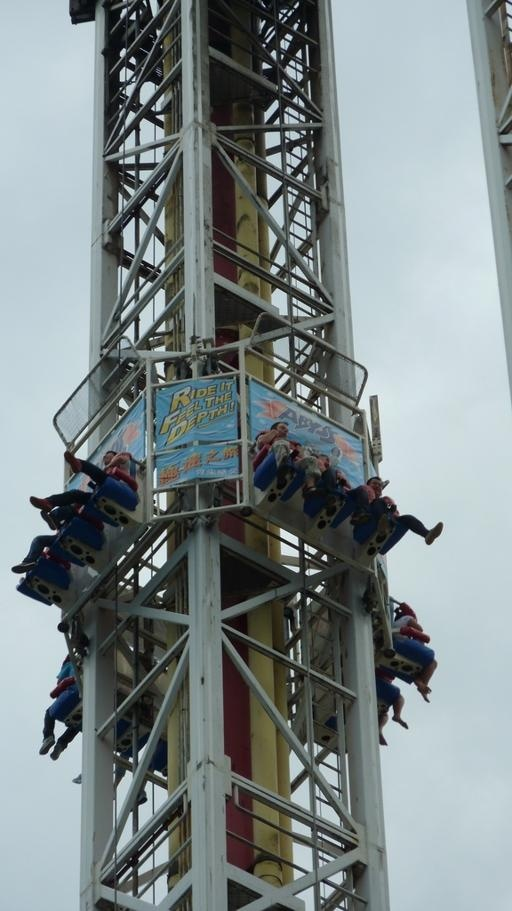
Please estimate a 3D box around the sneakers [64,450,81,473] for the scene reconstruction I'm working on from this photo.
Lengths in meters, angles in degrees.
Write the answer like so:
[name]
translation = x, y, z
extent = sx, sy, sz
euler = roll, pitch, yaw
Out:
[sneakers]
translation = -2.845, 0.125, 33.187
extent = 0.096, 0.226, 0.307
euler = -24, -80, 24
